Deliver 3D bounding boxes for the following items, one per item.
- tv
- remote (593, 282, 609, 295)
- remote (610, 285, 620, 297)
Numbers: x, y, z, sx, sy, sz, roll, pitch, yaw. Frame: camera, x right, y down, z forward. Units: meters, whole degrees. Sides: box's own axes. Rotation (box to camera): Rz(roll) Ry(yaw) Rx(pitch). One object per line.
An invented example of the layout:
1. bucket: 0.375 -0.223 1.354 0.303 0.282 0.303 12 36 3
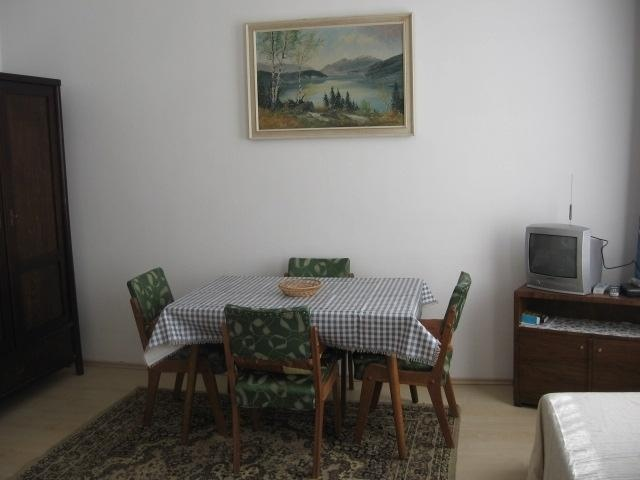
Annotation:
1. tv: 1.677 0.093 3.418 0.465 0.497 0.467 1 3 44
2. remote: 1.976 0.321 3.392 0.060 0.035 0.236 3 13 34
3. remote: 2.013 0.346 3.296 0.062 0.059 0.086 0 1 14
